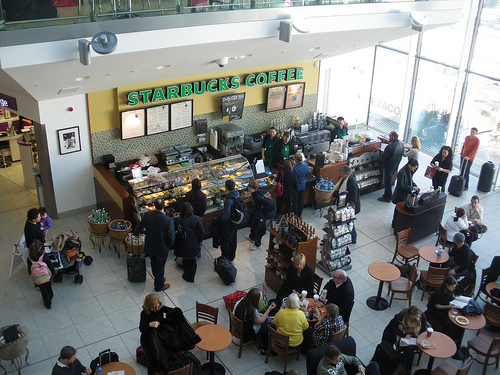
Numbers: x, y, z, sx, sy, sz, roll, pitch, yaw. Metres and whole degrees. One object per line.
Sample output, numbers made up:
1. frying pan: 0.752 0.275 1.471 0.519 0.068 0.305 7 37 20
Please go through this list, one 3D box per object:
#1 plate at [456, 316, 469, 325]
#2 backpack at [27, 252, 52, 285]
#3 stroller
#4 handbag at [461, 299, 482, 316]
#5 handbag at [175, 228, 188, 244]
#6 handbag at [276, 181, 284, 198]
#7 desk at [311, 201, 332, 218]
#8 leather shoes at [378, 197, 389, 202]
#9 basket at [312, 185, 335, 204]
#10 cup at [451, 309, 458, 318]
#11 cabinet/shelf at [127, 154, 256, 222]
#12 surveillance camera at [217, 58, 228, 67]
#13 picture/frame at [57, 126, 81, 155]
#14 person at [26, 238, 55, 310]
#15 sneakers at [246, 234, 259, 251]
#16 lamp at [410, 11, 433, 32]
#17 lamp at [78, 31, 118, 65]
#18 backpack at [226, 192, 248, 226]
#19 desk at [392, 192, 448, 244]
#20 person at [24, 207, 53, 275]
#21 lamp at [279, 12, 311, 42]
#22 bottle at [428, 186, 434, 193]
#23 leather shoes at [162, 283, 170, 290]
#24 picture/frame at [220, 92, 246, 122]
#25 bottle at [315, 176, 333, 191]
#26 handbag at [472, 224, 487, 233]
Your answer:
1. plate: 3.827 2.398 7.032 0.238 0.059 0.203 -3 16 3
2. backpack: -4.169 1.652 7.743 0.357 0.685 0.276 -9 17 -19
3. stroller: -4.163 1.575 8.903 0.980 0.919 0.999 -23 20 -23
4. handbag: 4.091 2.247 7.180 0.343 0.124 0.270 -3 39 11
5. handbag: -1.467 1.031 8.342 0.251 0.350 0.129 0 2 36
6. handbag: 0.782 0.024 10.256 0.118 0.337 0.340 -6 28 -22
7. desk: 2.095 0.591 11.467 0.672 0.456 0.400 -17 28 -36
8. leather shoes: 4.088 0.362 11.936 0.318 0.136 0.124 12 14 12
9. basket: 2.074 0.176 11.133 0.520 0.423 0.490 -10 25 -34
10. cup: 3.761 2.314 7.188 0.098 0.161 0.108 0 42 10
11. cabinet/shelf: -1.451 0.051 9.580 1.810 0.746 0.522 -18 40 -16
12. surveillance camera: -0.646 -2.930 9.030 0.216 0.215 0.193 4 14 2
13. picture/frame: -4.731 -1.272 10.108 0.635 0.759 0.052 -15 30 -35
14. person: -4.217 1.764 7.866 0.443 1.459 0.437 -9 21 -20
15. sneakers: 0.020 1.432 10.077 0.171 0.180 0.464 -18 42 -27
16. lamp: 4.112 -4.120 9.550 0.365 0.465 0.519 3 17 20
17. lamp: -2.480 -2.183 6.294 0.531 0.440 0.359 0 1 -16
18. backpack: -0.354 0.473 9.015 0.463 0.812 0.595 -3 17 14
19. desk: 4.551 0.742 10.462 1.605 1.370 0.562 -14 27 -24
20. person: -4.489 1.169 8.241 0.503 1.536 0.534 -6 51 -11
21. lamp: 0.949 -3.326 8.049 0.597 0.551 0.714 7 19 31
22. bottle: 4.874 0.045 10.490 0.103 0.176 0.104 3 26 -1
23. leather shoes: -1.870 2.200 8.688 0.076 0.155 0.165 25 43 16
24. picture/frame: -0.506 -2.495 12.090 0.862 0.828 0.110 -1 -8 37
25. bottle: 2.073 -0.108 10.972 0.406 0.135 0.401 2 18 -1
26. handbag: 5.593 0.994 9.491 0.270 0.086 0.271 19 38 38
